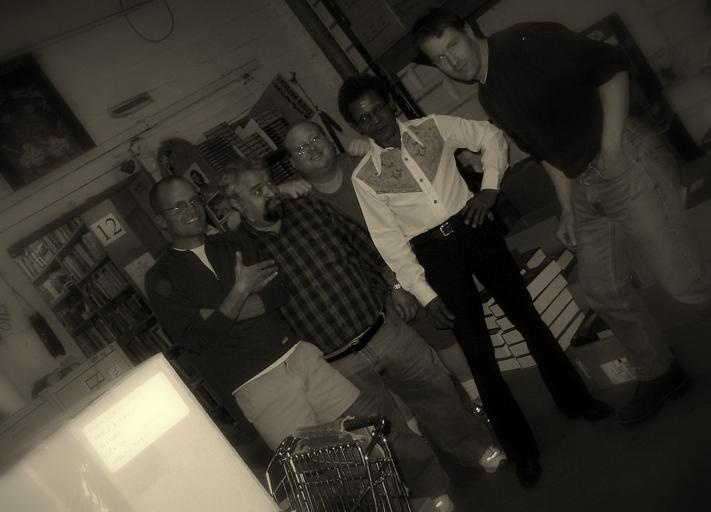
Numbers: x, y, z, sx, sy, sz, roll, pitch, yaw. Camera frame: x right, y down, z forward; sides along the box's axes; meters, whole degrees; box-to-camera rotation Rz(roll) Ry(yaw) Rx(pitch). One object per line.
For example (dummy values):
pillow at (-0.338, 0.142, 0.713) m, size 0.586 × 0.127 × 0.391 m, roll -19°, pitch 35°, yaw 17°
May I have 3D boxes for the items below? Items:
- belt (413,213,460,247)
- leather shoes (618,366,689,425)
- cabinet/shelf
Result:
belt at (0.460, -0.158, 3.249) m, size 0.301 × 0.076 × 0.329 m, roll -15°, pitch -24°, yaw 8°
leather shoes at (1.732, 0.807, 3.112) m, size 0.352 × 0.161 × 0.131 m, roll -38°, pitch 11°, yaw 17°
cabinet/shelf at (-1.865, 0.169, 4.194) m, size 1.638 × 1.842 × 0.435 m, roll -31°, pitch -5°, yaw -36°
